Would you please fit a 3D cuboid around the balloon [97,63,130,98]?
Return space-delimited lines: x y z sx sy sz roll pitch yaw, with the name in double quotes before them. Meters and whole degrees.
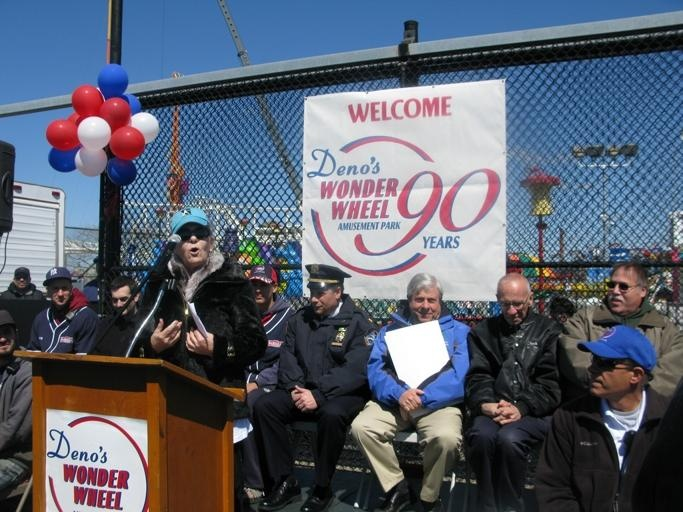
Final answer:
"balloon" -2.010 -1.543 7.243 0.236 0.355 0.248 2 -6 -22

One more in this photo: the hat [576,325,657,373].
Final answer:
"hat" 1.848 0.659 5.566 0.415 0.249 0.289 25 -2 5

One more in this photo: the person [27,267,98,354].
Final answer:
"person" -2.711 0.536 8.167 0.785 0.889 0.539 -6 -8 40

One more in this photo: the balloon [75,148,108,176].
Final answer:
"balloon" -2.201 -0.828 7.273 0.278 0.280 0.269 2 -7 -25

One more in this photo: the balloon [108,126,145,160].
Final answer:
"balloon" -1.810 -0.962 7.067 0.262 0.338 0.274 9 9 -10

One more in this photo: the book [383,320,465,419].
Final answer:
"book" 0.609 0.928 6.516 0.634 0.728 0.166 -7 -9 11

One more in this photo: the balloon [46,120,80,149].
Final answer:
"balloon" -2.422 -1.069 7.183 0.267 0.292 0.281 2 -6 -19

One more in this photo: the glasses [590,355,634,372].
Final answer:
"glasses" 1.784 0.733 5.451 0.233 0.128 0.155 9 -4 5

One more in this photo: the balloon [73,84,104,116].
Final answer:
"balloon" -2.202 -1.324 7.158 0.257 0.271 0.258 2 -6 -19

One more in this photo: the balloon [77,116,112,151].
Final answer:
"balloon" -2.081 -1.003 7.009 0.248 0.325 0.264 -4 -5 29

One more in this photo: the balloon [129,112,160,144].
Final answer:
"balloon" -1.707 -1.131 7.312 0.237 0.308 0.248 -3 8 42

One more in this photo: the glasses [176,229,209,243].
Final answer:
"glasses" -1.021 -0.132 5.710 0.235 0.098 0.056 2 -6 -19

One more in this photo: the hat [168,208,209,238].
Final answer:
"hat" -1.077 -0.238 5.827 0.252 0.195 0.412 -10 -13 -17
